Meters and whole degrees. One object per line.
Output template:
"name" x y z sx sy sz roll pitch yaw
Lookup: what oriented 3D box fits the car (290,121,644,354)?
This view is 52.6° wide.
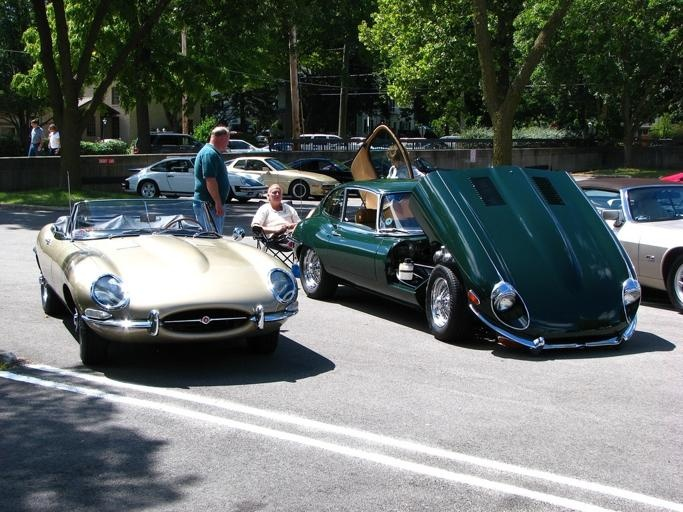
"car" 1.362 -0.125 9.640 2.294 2.102 4.885 -5 9 -29

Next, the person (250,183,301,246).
"person" -1.131 -0.699 11.894 0.701 0.826 1.117 -3 13 -27

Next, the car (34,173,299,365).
"car" -2.034 0.242 7.600 1.950 1.568 2.966 -7 13 -43

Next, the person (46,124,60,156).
"person" -11.621 -4.703 28.082 0.334 1.248 2.562 -3 10 -24

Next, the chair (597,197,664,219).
"chair" 4.608 -0.688 11.058 0.513 0.397 0.841 -3 4 -41
